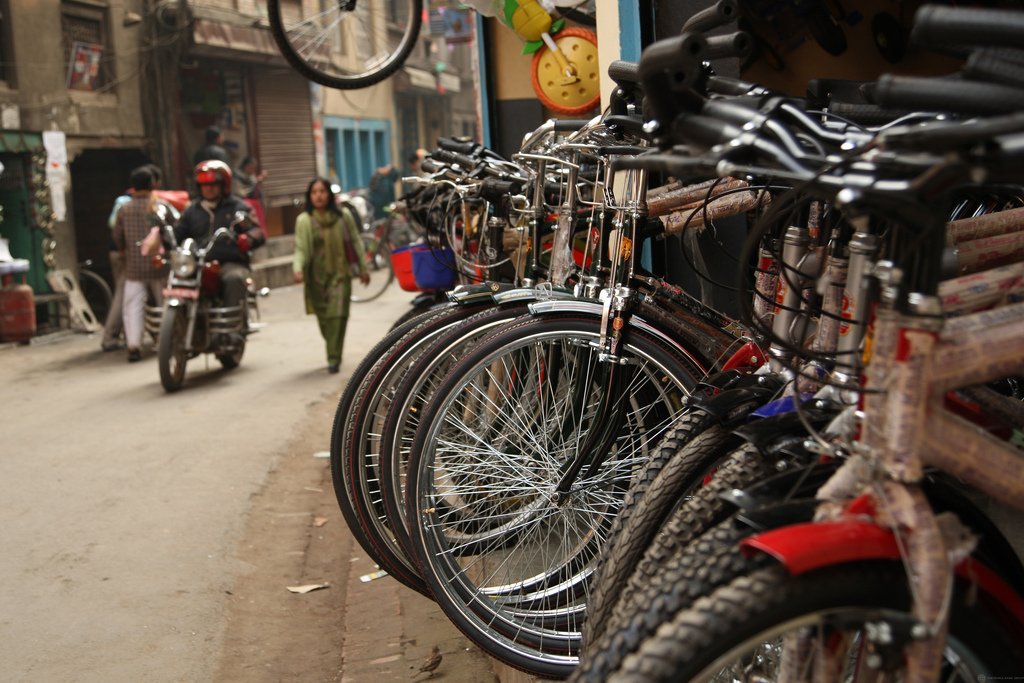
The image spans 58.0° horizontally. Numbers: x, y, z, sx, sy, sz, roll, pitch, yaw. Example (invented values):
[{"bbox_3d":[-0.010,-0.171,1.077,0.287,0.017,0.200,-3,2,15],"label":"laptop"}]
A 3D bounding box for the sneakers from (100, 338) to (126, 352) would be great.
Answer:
[{"bbox_3d":[-4.619,0.029,10.757,0.276,0.099,0.183,-27,8,-42],"label":"sneakers"}]

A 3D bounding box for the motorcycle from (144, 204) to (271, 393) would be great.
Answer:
[{"bbox_3d":[-3.078,-0.429,9.047,0.737,1.609,1.592,2,12,10],"label":"motorcycle"}]

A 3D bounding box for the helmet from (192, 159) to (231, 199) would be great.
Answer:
[{"bbox_3d":[-3.110,-1.732,9.556,0.289,0.358,0.397,-1,10,12],"label":"helmet"}]
